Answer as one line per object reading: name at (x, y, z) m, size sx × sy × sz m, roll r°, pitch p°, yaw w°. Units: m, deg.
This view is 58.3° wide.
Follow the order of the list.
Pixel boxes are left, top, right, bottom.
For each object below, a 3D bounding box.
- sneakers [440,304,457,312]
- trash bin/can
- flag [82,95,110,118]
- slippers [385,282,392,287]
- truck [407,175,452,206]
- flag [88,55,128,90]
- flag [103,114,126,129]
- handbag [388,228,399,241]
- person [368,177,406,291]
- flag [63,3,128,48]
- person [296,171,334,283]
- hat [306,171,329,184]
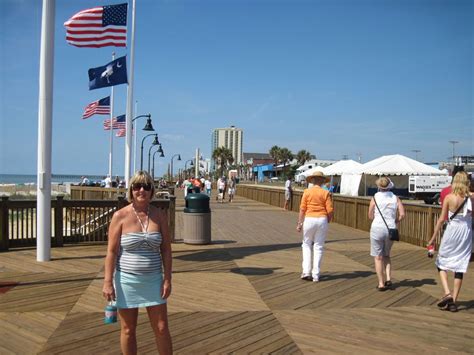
sneakers at (3.544, 2.149, 7.066) m, size 0.265 × 0.133 × 0.133 m, roll -3°, pitch -3°, yaw 12°
trash bin/can at (-1.107, 1.183, 12.024) m, size 0.761 × 1.441 × 0.436 m, roll 0°, pitch 5°, yaw -6°
flag at (-9.011, -4.487, 27.385) m, size 1.683 × 1.395 × 1.241 m, roll -2°, pitch 6°, yaw -32°
slippers at (2.914, 2.038, 8.138) m, size 0.105 × 0.112 × 0.091 m, roll -2°, pitch 0°, yaw 9°
truck at (12.026, 0.707, 26.511) m, size 2.602 × 1.818 × 1.739 m, roll -4°, pitch 4°, yaw -5°
flag at (-4.837, -3.901, 15.876) m, size 1.572 × 1.273 × 1.120 m, roll 1°, pitch 5°, yaw 1°
flag at (-9.106, -4.091, 31.853) m, size 1.396 × 1.099 × 3.917 m, roll -1°, pitch 5°, yaw -16°
handbag at (2.988, 1.064, 7.976) m, size 0.155 × 0.230 × 0.361 m, roll 5°, pitch 7°, yaw 39°
person at (2.837, 1.062, 8.085) m, size 0.609 × 2.100 × 0.488 m, roll 2°, pitch 5°, yaw 19°
flag at (-4.376, -4.899, 13.620) m, size 0.516 × 1.662 × 2.118 m, roll 5°, pitch 6°, yaw 39°
person at (1.568, 0.982, 8.530) m, size 0.637 × 2.183 × 0.553 m, roll 2°, pitch 5°, yaw 11°
hat at (2.217, -0.016, 11.791) m, size 0.761 × 0.254 × 0.837 m, roll 0°, pitch -16°, yaw 3°
